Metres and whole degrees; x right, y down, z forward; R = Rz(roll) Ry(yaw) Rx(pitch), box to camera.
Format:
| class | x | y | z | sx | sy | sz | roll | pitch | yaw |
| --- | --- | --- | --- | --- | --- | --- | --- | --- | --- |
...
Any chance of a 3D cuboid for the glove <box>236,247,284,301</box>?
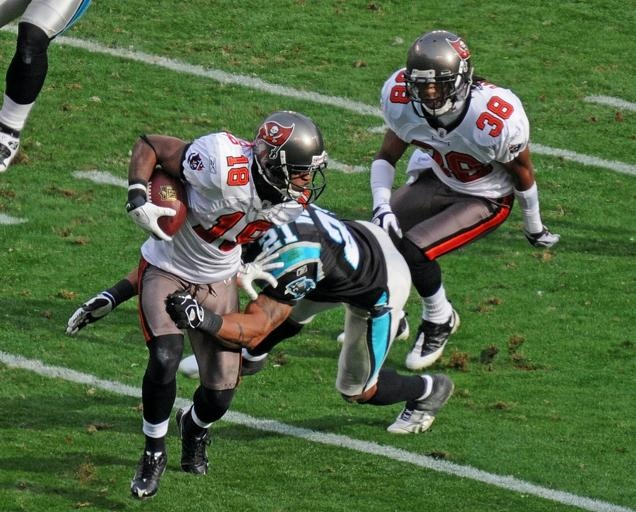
| class | x | y | z | sx | sy | sz | roll | pitch | yaw |
| --- | --- | --- | --- | --- | --- | --- | --- | --- | --- |
| glove | -0.348 | 0.117 | 6.954 | 0.103 | 0.353 | 0.280 | 38 | 35 | -51 |

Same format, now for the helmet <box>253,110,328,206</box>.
| class | x | y | z | sx | sy | sz | roll | pitch | yaw |
| --- | --- | --- | --- | --- | --- | --- | --- | --- | --- |
| helmet | -0.188 | -0.675 | 7.099 | 0.591 | 0.460 | 0.446 | 27 | 23 | 28 |

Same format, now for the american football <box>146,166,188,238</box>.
| class | x | y | z | sx | sy | sz | roll | pitch | yaw |
| --- | --- | --- | --- | --- | --- | --- | --- | --- | --- |
| american football | -0.944 | -0.342 | 6.995 | 0.272 | 0.239 | 0.368 | 28 | 38 | -61 |

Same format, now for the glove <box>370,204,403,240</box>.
| class | x | y | z | sx | sy | sz | roll | pitch | yaw |
| --- | --- | --- | --- | --- | --- | --- | --- | --- | --- |
| glove | 0.523 | -0.272 | 8.283 | 0.126 | 0.202 | 0.251 | -11 | 56 | -9 |

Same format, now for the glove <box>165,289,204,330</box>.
| class | x | y | z | sx | sy | sz | roll | pitch | yaw |
| --- | --- | --- | --- | --- | --- | --- | --- | --- | --- |
| glove | -0.855 | 0.345 | 6.854 | 0.311 | 0.129 | 0.218 | 5 | 0 | -11 |

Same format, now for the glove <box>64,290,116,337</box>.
| class | x | y | z | sx | sy | sz | roll | pitch | yaw |
| --- | --- | --- | --- | --- | --- | --- | --- | --- | --- |
| glove | -1.631 | 0.412 | 7.842 | 0.114 | 0.410 | 0.241 | 57 | 13 | 6 |

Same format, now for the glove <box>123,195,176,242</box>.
| class | x | y | z | sx | sy | sz | roll | pitch | yaw |
| --- | --- | --- | --- | --- | --- | --- | --- | --- | --- |
| glove | -1.047 | -0.249 | 6.841 | 0.292 | 0.204 | 0.128 | 37 | -22 | -26 |

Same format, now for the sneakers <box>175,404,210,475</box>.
| class | x | y | z | sx | sy | sz | roll | pitch | yaw |
| --- | --- | --- | --- | --- | --- | --- | --- | --- | --- |
| sneakers | -0.866 | 1.252 | 7.420 | 0.180 | 0.479 | 0.219 | -7 | -6 | -32 |

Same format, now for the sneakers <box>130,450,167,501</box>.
| class | x | y | z | sx | sy | sz | roll | pitch | yaw |
| --- | --- | --- | --- | --- | --- | --- | --- | --- | --- |
| sneakers | -1.117 | 1.440 | 7.139 | 0.138 | 0.148 | 0.381 | 5 | 36 | -2 |
